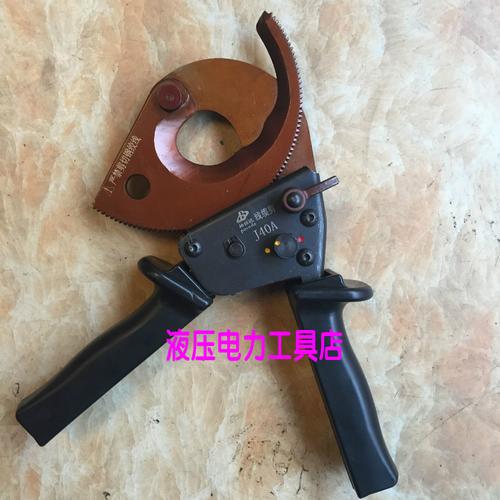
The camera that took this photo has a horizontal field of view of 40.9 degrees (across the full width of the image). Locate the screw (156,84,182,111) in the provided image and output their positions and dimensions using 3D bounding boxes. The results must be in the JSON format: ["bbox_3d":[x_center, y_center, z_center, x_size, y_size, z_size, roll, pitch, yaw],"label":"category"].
[{"bbox_3d":[-0.125,-0.235,1.041,0.036,0.022,0.037,-4,82,-1],"label":"screw"}]

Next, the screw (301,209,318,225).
[{"bbox_3d":[0.091,-0.048,1.040,0.027,0.010,0.025,-10,82,-2],"label":"screw"}]

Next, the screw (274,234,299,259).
[{"bbox_3d":[0.054,-0.005,1.036,0.043,0.010,0.037,-1,94,-4],"label":"screw"}]
